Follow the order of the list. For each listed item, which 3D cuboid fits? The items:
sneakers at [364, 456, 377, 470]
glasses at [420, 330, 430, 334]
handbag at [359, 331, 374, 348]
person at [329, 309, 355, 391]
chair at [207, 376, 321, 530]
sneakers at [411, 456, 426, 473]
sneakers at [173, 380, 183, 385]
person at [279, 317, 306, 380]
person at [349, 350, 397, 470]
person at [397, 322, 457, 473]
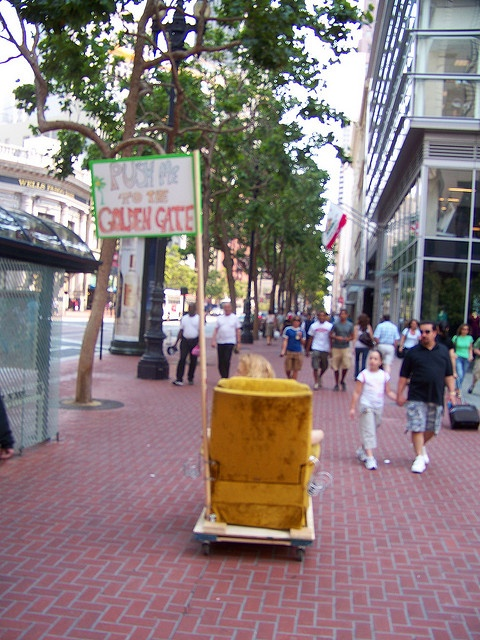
[{"bbox_3d":[1.550,1.692,5.969,0.126,0.134,0.177,1,-4,20],"label":"sneakers"},{"bbox_3d":[2.131,0.141,5.848,0.069,0.050,0.139,4,-4,-16],"label":"glasses"},{"bbox_3d":[3.401,0.503,13.509,0.152,0.450,0.314,-18,18,-34],"label":"handbag"},{"bbox_3d":[2.638,0.820,13.160,0.603,2.125,0.964,2,-3,13],"label":"person"},{"bbox_3d":[0.037,0.752,3.423,0.743,1.078,0.861,2,18,4],"label":"chair"},{"bbox_3d":[2.072,1.679,5.895,0.144,0.187,0.254,1,-4,21],"label":"sneakers"},{"bbox_3d":[-1.579,1.577,12.673,0.243,0.120,0.094,8,-16,9],"label":"sneakers"},{"bbox_3d":[1.309,0.708,12.478,0.549,1.549,1.928,2,-4,6],"label":"person"},{"bbox_3d":[1.594,1.072,6.191,0.434,1.406,0.552,1,-3,16],"label":"person"},{"bbox_3d":[2.206,0.917,6.076,0.633,1.744,0.507,4,-4,-33],"label":"person"}]
